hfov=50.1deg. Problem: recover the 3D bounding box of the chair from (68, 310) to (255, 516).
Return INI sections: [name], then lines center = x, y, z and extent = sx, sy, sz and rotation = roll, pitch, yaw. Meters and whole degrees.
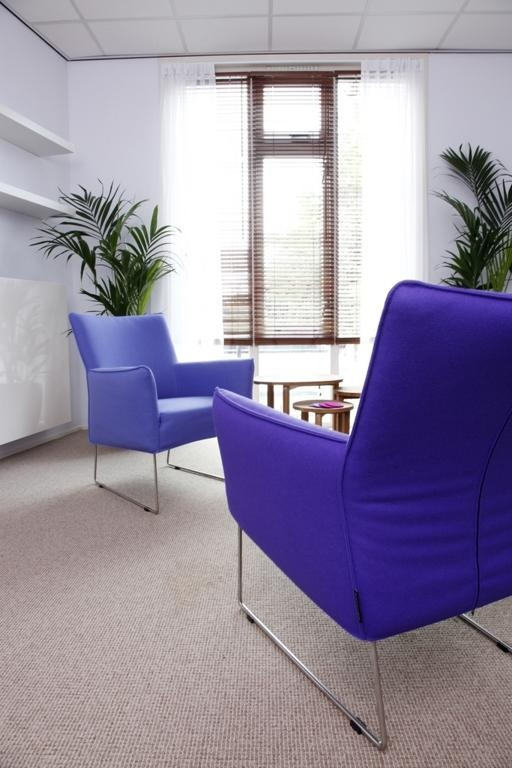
[chair]
center = -0.474, 0.102, 2.467
extent = 0.690, 0.898, 0.628
rotation = 3, 5, 31
